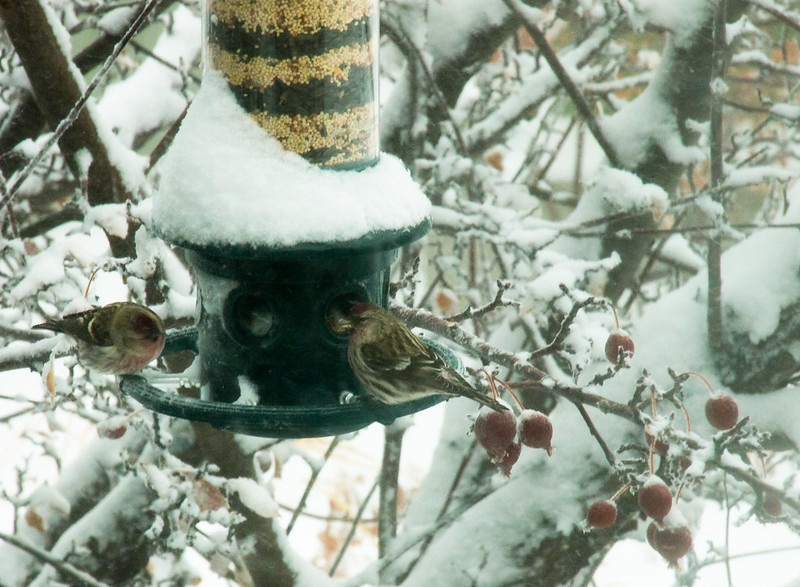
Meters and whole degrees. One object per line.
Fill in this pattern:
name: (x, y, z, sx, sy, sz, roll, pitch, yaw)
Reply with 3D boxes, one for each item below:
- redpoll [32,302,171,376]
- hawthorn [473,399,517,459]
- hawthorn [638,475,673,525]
redpoll: (-1.684, 0.217, 7.783, 0.590, 0.405, 0.404, 6, 27, 2)
hawthorn: (0.522, 0.741, 7.692, 0.232, 0.366, 0.265, -11, -2, -4)
hawthorn: (1.387, 1.131, 7.558, 0.189, 0.371, 0.223, 2, -10, 5)
